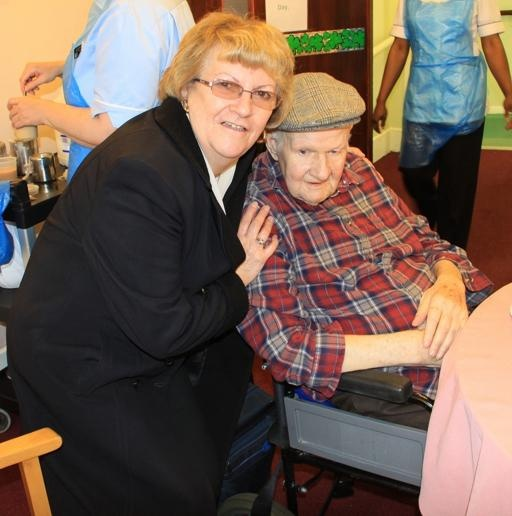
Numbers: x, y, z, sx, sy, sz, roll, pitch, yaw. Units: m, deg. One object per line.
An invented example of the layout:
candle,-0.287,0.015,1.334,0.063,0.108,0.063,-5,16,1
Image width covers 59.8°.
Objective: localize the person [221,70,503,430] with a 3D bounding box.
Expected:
person,0.348,-0.057,1.502,0.768,1.036,0.836,3,29,26
